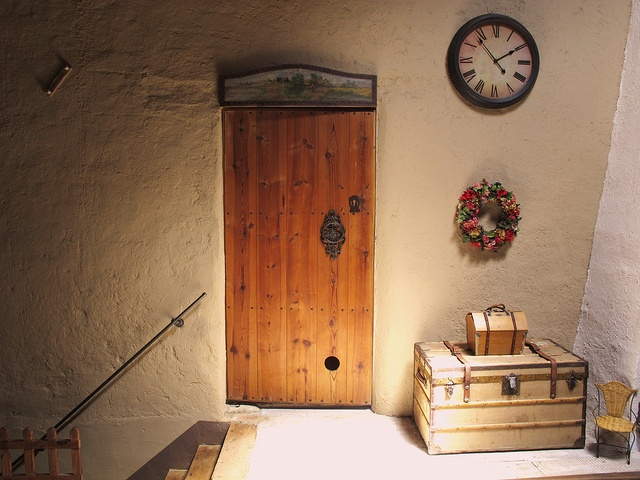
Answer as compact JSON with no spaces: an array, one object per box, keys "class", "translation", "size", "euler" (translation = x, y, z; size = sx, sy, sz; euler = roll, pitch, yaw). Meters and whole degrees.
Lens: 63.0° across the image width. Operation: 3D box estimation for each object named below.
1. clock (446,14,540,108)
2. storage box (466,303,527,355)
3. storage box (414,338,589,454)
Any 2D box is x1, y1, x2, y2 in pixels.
[{"class":"clock","translation":[1.590,-1.696,4.831],"size":[0.850,0.858,0.111],"euler":[0,5,-1]},{"class":"storage box","translation":[1.607,0.803,4.847],"size":[0.503,0.425,0.378],"euler":[1,9,-4]},{"class":"storage box","translation":[1.629,1.416,5.007],"size":[1.486,0.874,0.875],"euler":[0,8,-7]}]
